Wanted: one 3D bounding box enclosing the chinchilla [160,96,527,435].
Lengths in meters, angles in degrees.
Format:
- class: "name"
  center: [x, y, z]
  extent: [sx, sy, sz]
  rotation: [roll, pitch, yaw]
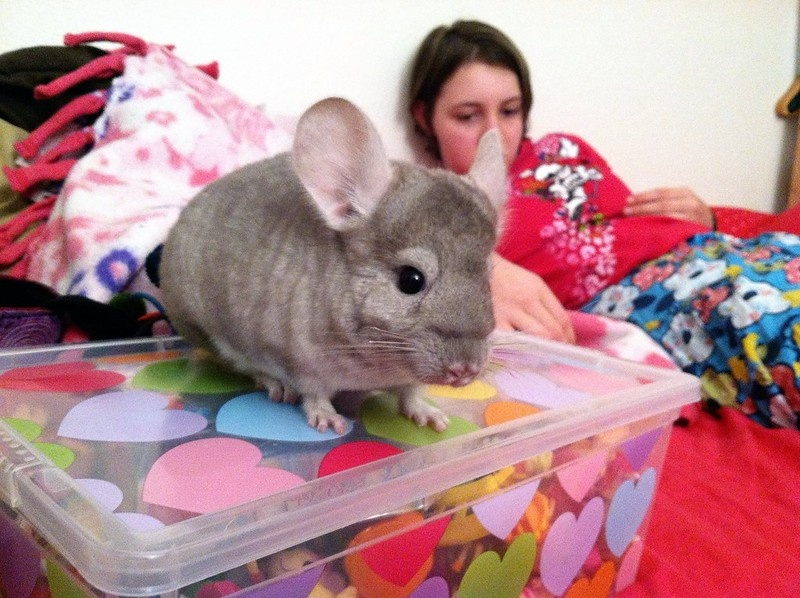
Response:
- class: "chinchilla"
  center: [-0.157, -0.086, 1.518]
  extent: [0.563, 0.640, 0.888]
  rotation: [-2, 13, -41]
